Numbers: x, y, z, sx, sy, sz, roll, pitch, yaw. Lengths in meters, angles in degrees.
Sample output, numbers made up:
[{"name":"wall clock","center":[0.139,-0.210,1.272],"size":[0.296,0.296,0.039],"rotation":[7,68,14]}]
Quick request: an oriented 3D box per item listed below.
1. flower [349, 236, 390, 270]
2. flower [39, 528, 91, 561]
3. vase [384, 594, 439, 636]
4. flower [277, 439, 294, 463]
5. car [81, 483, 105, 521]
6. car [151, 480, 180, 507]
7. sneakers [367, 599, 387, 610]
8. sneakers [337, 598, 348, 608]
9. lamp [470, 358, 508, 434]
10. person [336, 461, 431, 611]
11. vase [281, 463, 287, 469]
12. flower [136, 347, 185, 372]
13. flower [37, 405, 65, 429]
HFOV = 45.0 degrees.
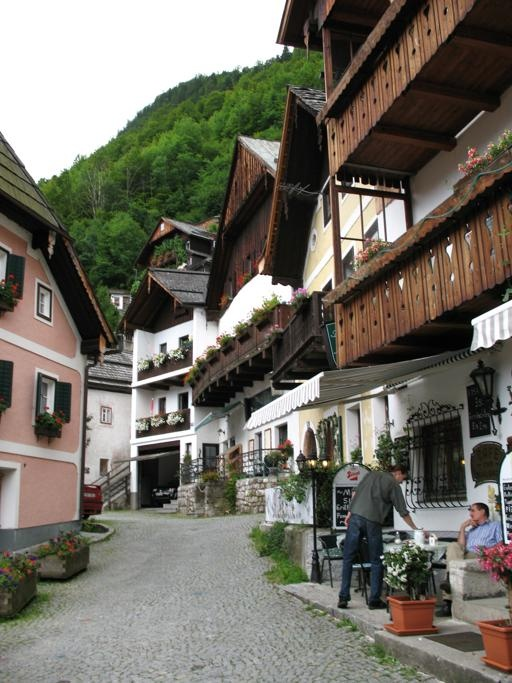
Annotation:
[{"name":"flower","center":[1.739,-1.349,9.290],"size":[0.583,0.244,0.437],"rotation":[-34,3,-36]},{"name":"flower","center":[-3.349,3.624,11.020],"size":[0.559,0.323,0.944],"rotation":[-2,-3,12]},{"name":"vase","center":[1.257,2.158,4.947],"size":[0.362,0.235,0.334],"rotation":[3,-17,-15]},{"name":"flower","center":[1.162,3.801,21.645],"size":[0.694,0.981,0.837],"rotation":[-1,-10,-5]},{"name":"car","center":[-5.736,5.634,21.719],"size":[0.632,1.118,5.002],"rotation":[3,-14,-14]},{"name":"car","center":[-4.615,7.762,31.179],"size":[1.034,0.907,1.798],"rotation":[0,-5,4]},{"name":"sneakers","center":[1.273,2.708,6.395],"size":[0.243,0.105,0.082],"rotation":[7,-8,-31]},{"name":"sneakers","center":[0.912,2.746,6.462],"size":[0.059,0.065,0.150],"rotation":[1,-14,1]},{"name":"lamp","center":[2.819,0.686,7.632],"size":[0.272,0.916,0.660],"rotation":[-1,-14,2]},{"name":"person","center":[1.251,2.051,6.441],"size":[0.955,1.434,0.523],"rotation":[-12,-18,39]},{"name":"vase","center":[1.008,4.397,21.786],"size":[0.202,0.157,0.196],"rotation":[4,-12,-4]},{"name":"flower","center":[-5.210,1.037,33.826],"size":[2.549,0.592,0.788],"rotation":[-15,5,33]},{"name":"flower","center":[-4.971,1.789,14.718],"size":[0.425,0.355,0.477],"rotation":[0,-5,25]}]
